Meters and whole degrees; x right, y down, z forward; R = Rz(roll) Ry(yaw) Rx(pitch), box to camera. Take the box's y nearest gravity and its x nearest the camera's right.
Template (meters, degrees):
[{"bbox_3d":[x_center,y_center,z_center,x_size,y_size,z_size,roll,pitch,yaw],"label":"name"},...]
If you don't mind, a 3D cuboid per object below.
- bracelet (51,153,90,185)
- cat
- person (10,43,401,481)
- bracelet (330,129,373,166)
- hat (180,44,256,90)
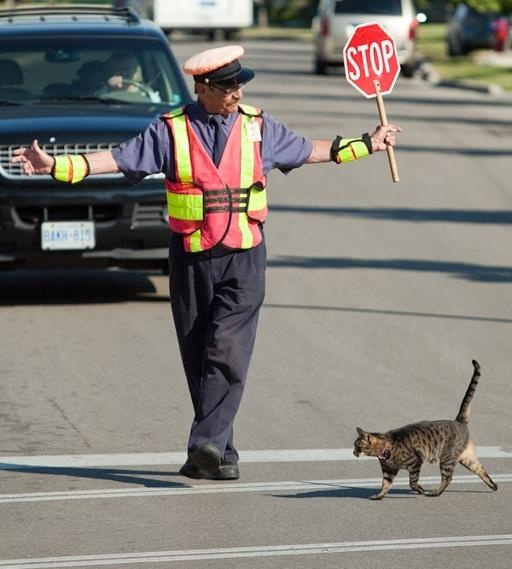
[{"bbox_3d":[-0.835,-0.510,6.134,0.143,0.129,0.144,0,4,-18],"label":"bracelet"},{"bbox_3d":[0.730,0.653,6.101,0.626,0.640,0.190,1,1,-15],"label":"cat"},{"bbox_3d":[-0.208,-0.067,6.242,1.463,1.985,0.562,-2,11,-10],"label":"person"},{"bbox_3d":[0.429,-0.652,6.479,0.165,0.145,0.084,-14,40,-5],"label":"bracelet"},{"bbox_3d":[-0.176,-1.004,6.164,0.338,0.145,0.290,0,28,9],"label":"hat"}]
